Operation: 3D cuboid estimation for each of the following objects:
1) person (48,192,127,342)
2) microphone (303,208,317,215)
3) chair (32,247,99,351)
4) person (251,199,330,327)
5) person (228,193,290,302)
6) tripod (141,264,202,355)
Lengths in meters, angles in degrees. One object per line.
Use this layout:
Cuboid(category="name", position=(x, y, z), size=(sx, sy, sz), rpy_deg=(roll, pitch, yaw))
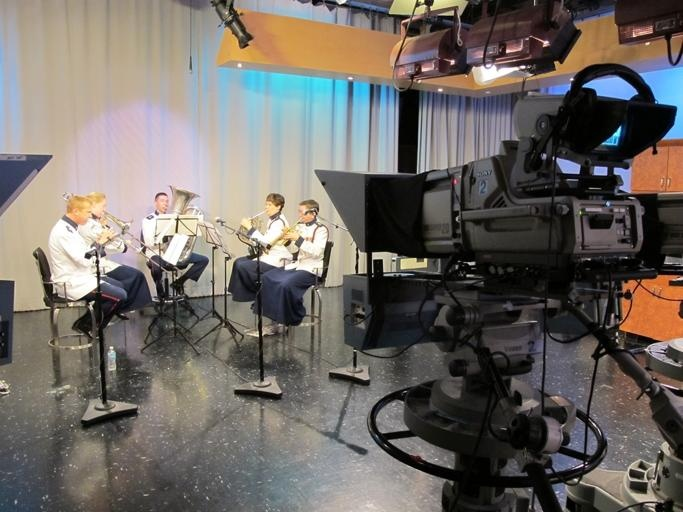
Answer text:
Cuboid(category="person", position=(-2.442, 0.115, 5.470), size=(0.695, 1.367, 0.608), rpy_deg=(4, 7, -24))
Cuboid(category="microphone", position=(-0.327, -0.469, 5.952), size=(0.086, 0.045, 0.075), rpy_deg=(-10, 10, -5))
Cuboid(category="chair", position=(-2.539, 0.401, 5.257), size=(0.494, 0.864, 0.513), rpy_deg=(-3, 3, -20))
Cuboid(category="person", position=(-0.486, 0.092, 5.786), size=(0.650, 1.362, 0.441), rpy_deg=(-2, 6, -40))
Cuboid(category="person", position=(-0.822, -0.043, 6.074), size=(0.564, 1.344, 0.499), rpy_deg=(0, 1, -40))
Cuboid(category="tripod", position=(-1.876, 0.657, 6.035), size=(0.581, 1.059, 0.732), rpy_deg=(1, 8, -17))
